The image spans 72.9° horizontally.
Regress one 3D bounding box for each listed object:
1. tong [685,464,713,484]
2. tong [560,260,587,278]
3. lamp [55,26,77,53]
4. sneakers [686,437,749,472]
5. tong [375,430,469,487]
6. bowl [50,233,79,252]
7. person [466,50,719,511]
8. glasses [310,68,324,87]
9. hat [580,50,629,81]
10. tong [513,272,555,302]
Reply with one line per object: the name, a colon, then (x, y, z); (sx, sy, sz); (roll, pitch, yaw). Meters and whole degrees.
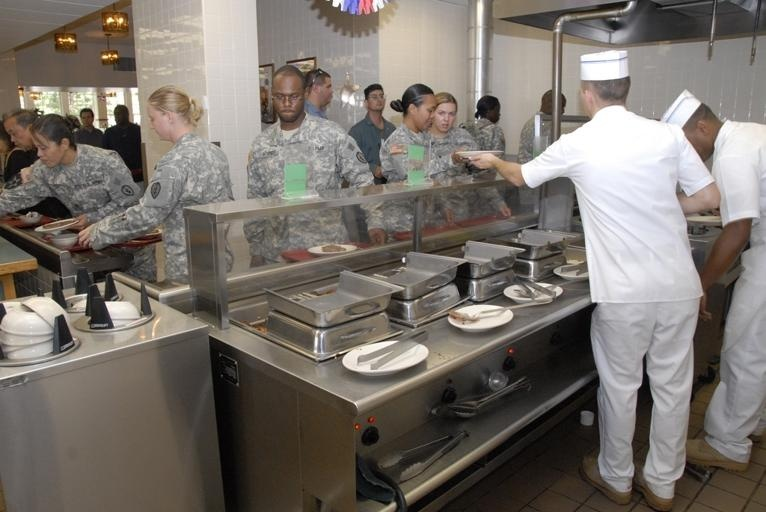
tong: (1.723, 1.187, 2.824); (0.074, 0.027, 0.089); (-10, 13, -31)
tong: (1.056, 0.084, 2.868); (0.121, 0.021, 0.087); (-16, 25, -31)
lamp: (-4.749, -3.224, 7.767); (0.254, 0.301, 0.397); (-8, 17, -14)
sneakers: (1.837, 1.100, 2.904); (0.320, 0.136, 0.152); (11, 14, 35)
tong: (0.167, 0.765, 2.057); (0.352, 0.045, 0.125); (-17, 27, -40)
bowl: (-1.982, -0.088, 3.234); (0.121, 0.066, 0.119); (-1, 5, 0)
person: (1.139, 0.163, 2.531); (0.770, 2.193, 0.484); (6, 19, 29)
glasses: (-0.652, -1.675, 4.834); (0.052, 0.174, 0.177); (40, 22, 7)
hat: (1.010, -0.861, 2.371); (0.175, 0.110, 0.179); (13, 30, 44)
tong: (0.750, 0.157, 2.633); (0.078, 0.035, 0.200); (-2, 16, -13)
